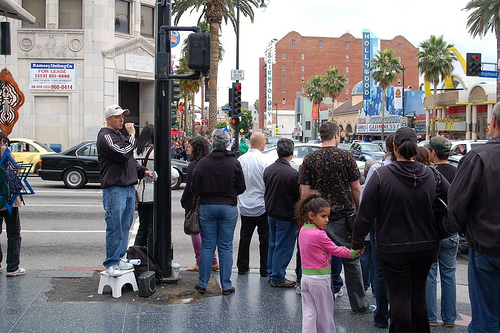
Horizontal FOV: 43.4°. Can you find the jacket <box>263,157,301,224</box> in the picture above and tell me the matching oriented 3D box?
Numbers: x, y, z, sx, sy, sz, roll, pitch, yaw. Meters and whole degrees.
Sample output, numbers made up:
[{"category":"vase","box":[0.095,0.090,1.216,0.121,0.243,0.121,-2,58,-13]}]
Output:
[{"category":"jacket","box":[0.590,0.439,12.001,0.757,1.223,0.414,2,5,17]}]

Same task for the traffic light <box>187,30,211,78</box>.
[{"category":"traffic light","box":[-0.985,-2.152,12.357,0.601,1.197,0.843,0,1,-9]}]

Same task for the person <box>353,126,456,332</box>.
[{"category":"person","box":[2.461,0.978,9.883,1.458,3.165,0.694,2,5,18]}]

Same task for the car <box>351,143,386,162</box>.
[{"category":"car","box":[6.468,-0.808,34.513,1.259,1.073,2.845,-1,-2,-3]}]

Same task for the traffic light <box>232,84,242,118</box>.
[{"category":"traffic light","box":[-0.594,-3.010,28.301,0.391,1.424,1.457,0,5,-4]}]

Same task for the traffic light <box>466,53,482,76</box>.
[{"category":"traffic light","box":[11.139,-5.030,31.092,0.728,1.070,1.127,2,5,20]}]

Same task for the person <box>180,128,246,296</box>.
[{"category":"person","box":[-0.600,0.842,11.615,0.941,3.023,0.395,0,4,0]}]

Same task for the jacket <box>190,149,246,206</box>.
[{"category":"jacket","box":[-0.622,0.201,11.921,1.353,1.390,0.886,0,-1,-4]}]

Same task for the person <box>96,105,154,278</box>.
[{"category":"person","box":[-2.399,0.440,11.650,0.821,3.145,1.085,-1,5,-14]}]

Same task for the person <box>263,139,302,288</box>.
[{"category":"person","box":[0.603,0.877,12.073,0.725,2.814,0.520,2,5,15]}]

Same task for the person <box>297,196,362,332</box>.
[{"category":"person","box":[1.137,1.525,9.931,0.741,2.101,0.425,1,4,5]}]

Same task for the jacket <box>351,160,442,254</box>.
[{"category":"jacket","box":[2.423,0.640,9.962,1.672,1.399,0.740,-1,2,-7]}]

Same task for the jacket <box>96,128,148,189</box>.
[{"category":"jacket","box":[-2.387,-0.169,11.640,0.877,1.146,1.045,-2,1,26]}]
